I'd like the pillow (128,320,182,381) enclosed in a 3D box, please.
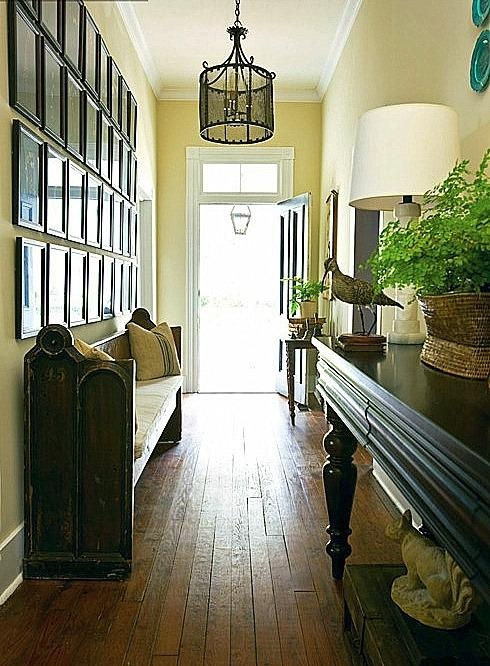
[{"bbox_3d":[-0.722,0.176,3.992,0.191,0.478,0.446,-9,-5,38],"label":"pillow"}]

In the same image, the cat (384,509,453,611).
[{"bbox_3d":[0.399,0.509,1.080,0.074,0.165,0.208,4,6,-36],"label":"cat"}]

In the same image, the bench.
[{"bbox_3d":[-0.693,0.446,2.910,0.408,1.053,1.872,0,4,-1],"label":"bench"}]

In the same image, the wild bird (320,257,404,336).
[{"bbox_3d":[0.411,-0.135,1.671,0.275,0.305,0.104,-9,6,-5],"label":"wild bird"}]

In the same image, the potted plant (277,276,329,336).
[{"bbox_3d":[0.639,-0.240,5.118,0.407,0.637,0.402,-3,-2,29],"label":"potted plant"}]

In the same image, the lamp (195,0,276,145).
[{"bbox_3d":[-0.061,-1.659,3.403,0.519,0.610,0.325,1,2,0],"label":"lamp"}]
